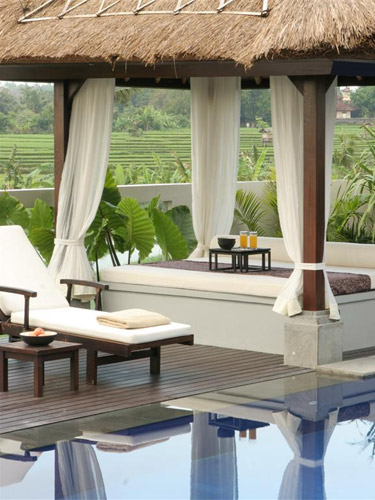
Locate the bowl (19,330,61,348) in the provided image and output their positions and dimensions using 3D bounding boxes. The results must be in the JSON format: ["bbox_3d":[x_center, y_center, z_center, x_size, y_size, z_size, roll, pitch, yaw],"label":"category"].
[{"bbox_3d":[-0.982,0.590,3.190,0.210,0.091,0.171,3,-5,-19],"label":"bowl"}]

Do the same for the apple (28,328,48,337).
[{"bbox_3d":[-1.009,0.558,3.264,0.085,0.047,0.115,0,-1,-6],"label":"apple"}]

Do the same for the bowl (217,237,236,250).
[{"bbox_3d":[0.420,-0.062,5.358,0.150,0.088,0.146,0,-2,0],"label":"bowl"}]
